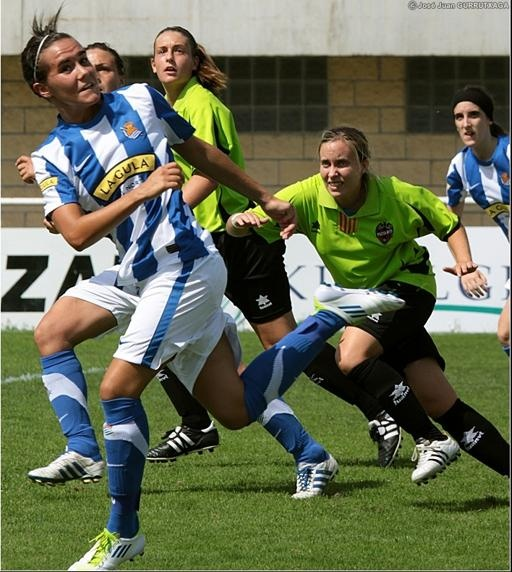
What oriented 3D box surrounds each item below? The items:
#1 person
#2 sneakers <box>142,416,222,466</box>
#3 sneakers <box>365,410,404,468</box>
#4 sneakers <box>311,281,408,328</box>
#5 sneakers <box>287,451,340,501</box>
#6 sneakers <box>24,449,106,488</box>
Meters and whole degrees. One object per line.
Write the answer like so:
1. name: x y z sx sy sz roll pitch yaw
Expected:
1. person: -0.342 -0.017 3.799 0.697 1.952 1.087 7 10 41
2. sneakers: -0.329 0.744 4.682 0.421 0.158 0.139 -9 -5 -22
3. sneakers: 0.616 0.740 4.700 0.157 0.099 0.290 13 47 -15
4. sneakers: 0.424 0.071 4.089 0.425 0.158 0.140 -2 7 -20
5. sneakers: 0.255 0.821 4.186 0.092 0.265 0.117 29 -10 48
6. sneakers: -0.690 0.690 3.673 0.328 0.126 0.110 2 -2 -8
